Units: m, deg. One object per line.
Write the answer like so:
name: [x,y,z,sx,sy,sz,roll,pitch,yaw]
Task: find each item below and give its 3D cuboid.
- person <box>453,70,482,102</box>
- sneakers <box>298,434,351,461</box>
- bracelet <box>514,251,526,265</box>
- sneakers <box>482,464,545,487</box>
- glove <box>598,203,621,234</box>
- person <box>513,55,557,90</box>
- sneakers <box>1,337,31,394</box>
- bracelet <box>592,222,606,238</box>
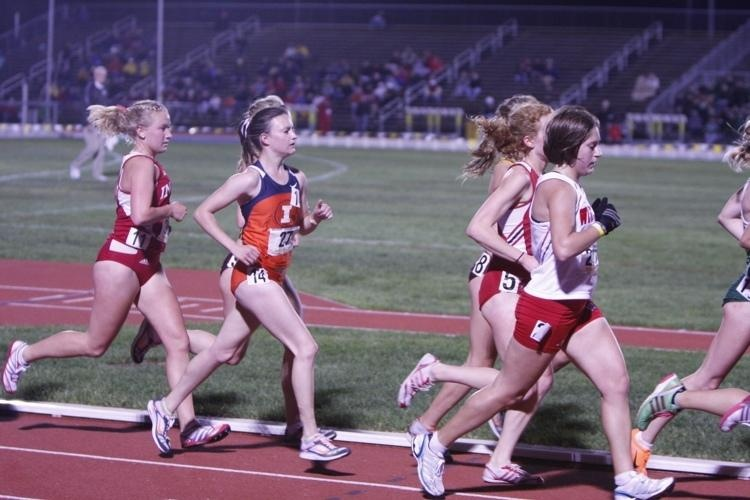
person: [3.418,-6.057,36.866,0.842,0.544,1.329,-2,25,12]
sneakers: [-0.455,1.700,8.701,0.496,0.235,0.188,1,3,5]
bracelet: [1.211,0.064,8.354,0.023,0.084,0.086,30,10,6]
sneakers: [1.150,1.897,8.548,0.551,0.196,0.192,2,-6,-2]
glove: [1.913,-0.265,8.133,0.157,0.198,0.314,13,13,30]
person: [6.102,-6.502,37.198,1.398,1.396,0.412,1,4,23]
sneakers: [-3.418,1.088,9.622,0.267,0.580,0.196,5,6,12]
bracelet: [1.802,-0.155,8.071,0.097,0.102,0.104,-18,46,-19]
